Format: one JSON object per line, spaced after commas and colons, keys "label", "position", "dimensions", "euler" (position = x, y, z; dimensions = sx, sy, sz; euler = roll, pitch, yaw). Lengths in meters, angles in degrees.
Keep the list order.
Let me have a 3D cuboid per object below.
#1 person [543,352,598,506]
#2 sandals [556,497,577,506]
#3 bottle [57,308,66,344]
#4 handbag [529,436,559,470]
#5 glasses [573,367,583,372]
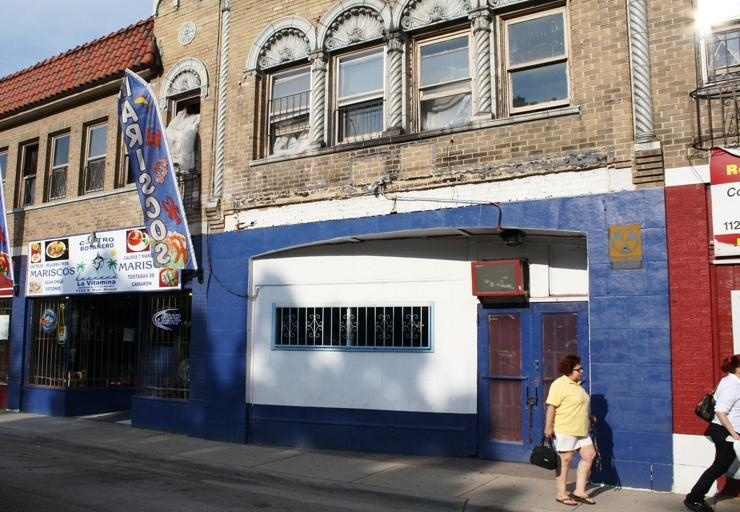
{"label": "person", "position": [3.354, 2.933, 14.334], "dimensions": [0.845, 2.458, 0.483], "euler": [0, 4, 5]}
{"label": "sandals", "position": [3.290, 4.120, 14.266], "dimensions": [0.230, 0.080, 0.143], "euler": [1, 1, 3]}
{"label": "bottle", "position": [-7.827, 1.739, 21.755], "dimensions": [0.149, 0.969, 0.460], "euler": [-5, 6, -44]}
{"label": "handbag", "position": [2.984, 3.358, 14.523], "dimensions": [0.445, 0.470, 0.999], "euler": [1, 5, 13]}
{"label": "glasses", "position": [3.494, 1.924, 14.361], "dimensions": [0.166, 0.065, 0.178], "euler": [-3, -4, 22]}
